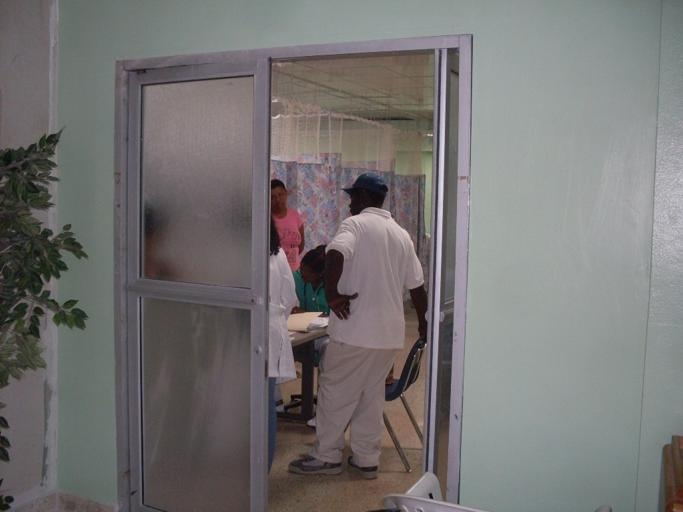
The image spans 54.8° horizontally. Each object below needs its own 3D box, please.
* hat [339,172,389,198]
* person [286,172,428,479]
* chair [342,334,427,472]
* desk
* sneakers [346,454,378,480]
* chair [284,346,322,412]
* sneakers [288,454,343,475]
[{"bbox_3d":[0.166,-0.475,4.362,0.229,0.145,0.159,13,8,13],"label":"hat"},{"bbox_3d":[0.104,0.438,4.243,0.884,1.925,0.446,-1,5,-5],"label":"person"},{"bbox_3d":[0.312,0.954,4.547,0.645,0.856,0.667,2,5,-20],"label":"chair"},{"bbox_3d":[-0.341,0.860,4.800,0.387,0.580,0.789,4,-23,-2],"label":"desk"},{"bbox_3d":[0.138,1.377,4.275,0.078,0.102,0.205,-4,13,-39],"label":"sneakers"},{"bbox_3d":[-0.340,0.918,5.037,0.251,0.595,0.591,3,-15,-6],"label":"chair"},{"bbox_3d":[-0.171,1.352,4.296,0.343,0.162,0.134,5,-5,5],"label":"sneakers"}]
